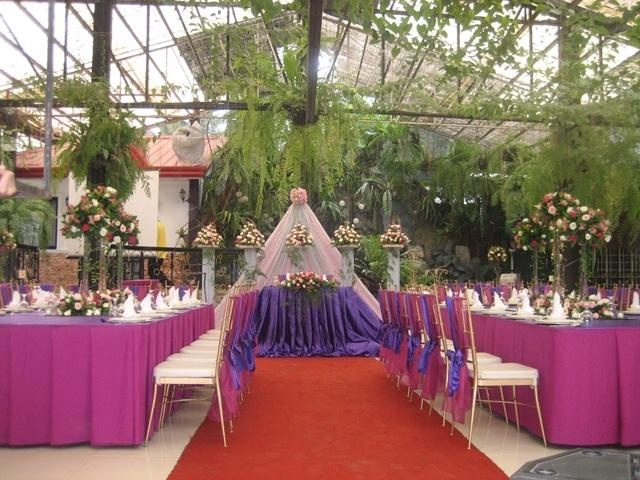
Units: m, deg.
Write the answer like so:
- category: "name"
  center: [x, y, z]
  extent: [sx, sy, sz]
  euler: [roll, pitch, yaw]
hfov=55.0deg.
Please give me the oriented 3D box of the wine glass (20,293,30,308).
- category: "wine glass"
  center: [-3.129, 0.645, 6.525]
  extent: [0.088, 0.135, 0.089]
  euler: [-3, 19, -36]

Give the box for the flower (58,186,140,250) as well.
- category: "flower"
  center: [-2.262, -0.254, 6.348]
  extent: [0.764, 0.610, 0.416]
  euler: [-2, 6, -26]

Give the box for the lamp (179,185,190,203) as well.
- category: "lamp"
  center: [-3.443, -1.146, 15.494]
  extent: [0.221, 0.378, 0.088]
  euler: [1, 6, 9]

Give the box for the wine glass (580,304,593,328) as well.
- category: "wine glass"
  center: [2.406, 0.691, 5.594]
  extent: [0.130, 0.213, 0.126]
  euler: [2, 2, 44]

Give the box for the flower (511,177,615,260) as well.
- category: "flower"
  center: [2.475, -0.166, 6.387]
  extent: [0.943, 0.663, 0.604]
  euler: [3, 6, 28]

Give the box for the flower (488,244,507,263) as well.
- category: "flower"
  center: [4.603, 0.364, 16.027]
  extent: [0.403, 0.510, 0.437]
  euler: [-7, 11, -30]
